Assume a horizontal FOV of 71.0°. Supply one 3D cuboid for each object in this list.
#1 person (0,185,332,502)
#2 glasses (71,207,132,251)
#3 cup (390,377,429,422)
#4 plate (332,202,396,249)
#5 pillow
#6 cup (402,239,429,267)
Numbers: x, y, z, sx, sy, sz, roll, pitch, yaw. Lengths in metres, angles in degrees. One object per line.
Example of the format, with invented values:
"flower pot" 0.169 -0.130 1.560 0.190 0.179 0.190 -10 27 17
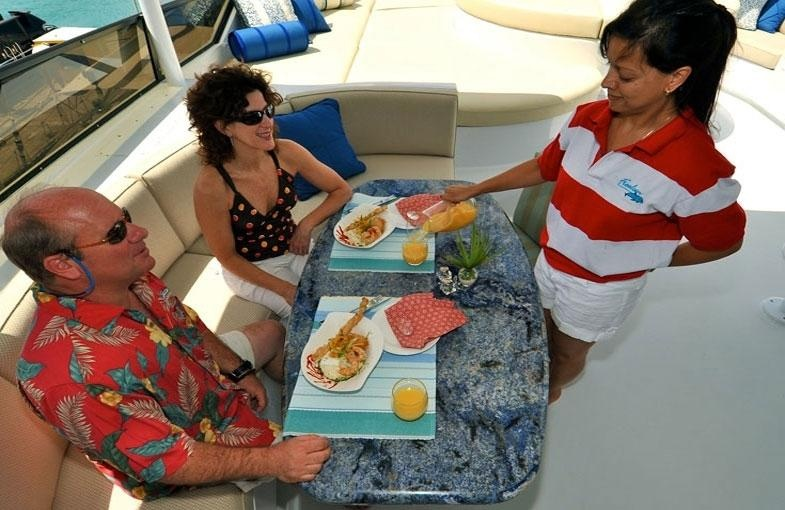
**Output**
"person" -0.960 0.399 2.308 0.809 1.248 0.820 -14 64 -10
"glasses" -1.124 -0.099 2.127 0.171 0.052 0.145 -9 37 -1
"cup" 0.063 0.555 2.126 0.155 0.115 0.152 -2 49 3
"plate" -0.138 -0.143 2.702 0.253 0.091 0.213 -37 45 -16
"pillow" -0.519 -0.690 3.803 0.667 0.619 0.181 -28 14 -24
"cup" 0.099 -0.025 2.594 0.118 0.119 0.117 2 48 -2
